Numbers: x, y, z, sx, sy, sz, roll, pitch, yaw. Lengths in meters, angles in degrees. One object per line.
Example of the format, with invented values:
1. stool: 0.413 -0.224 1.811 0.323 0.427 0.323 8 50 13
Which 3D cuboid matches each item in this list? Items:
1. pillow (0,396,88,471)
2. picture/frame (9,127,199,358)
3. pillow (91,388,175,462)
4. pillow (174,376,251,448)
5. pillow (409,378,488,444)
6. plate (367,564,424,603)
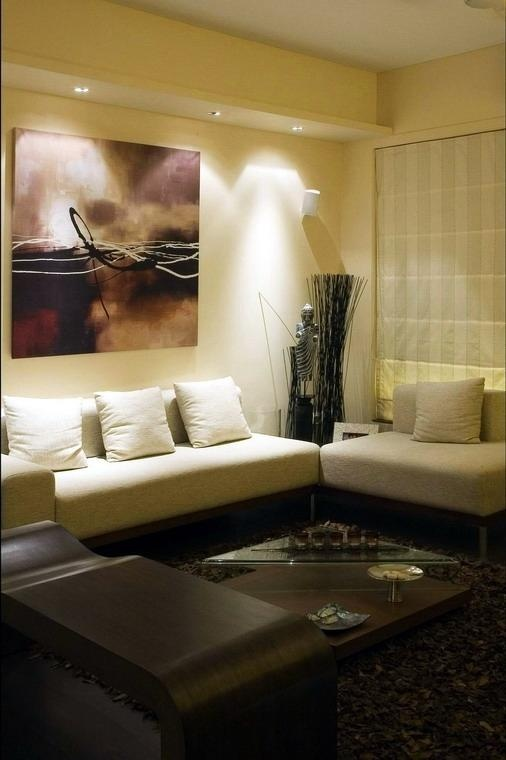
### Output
1. pillow: -1.234 0.315 3.281 0.458 0.452 0.171 6 -21 -44
2. picture/frame: -1.075 -0.966 3.884 1.673 1.752 0.077 -1 3 -42
3. pillow: -0.770 0.290 3.800 0.484 0.460 0.255 -6 3 -39
4. pillow: -0.297 0.199 4.270 0.643 0.615 0.178 0 -25 -33
5. pillow: 1.466 0.239 4.161 0.425 0.437 0.160 0 -14 36
6. plate: 0.645 0.887 2.528 0.159 0.088 0.164 0 8 14
